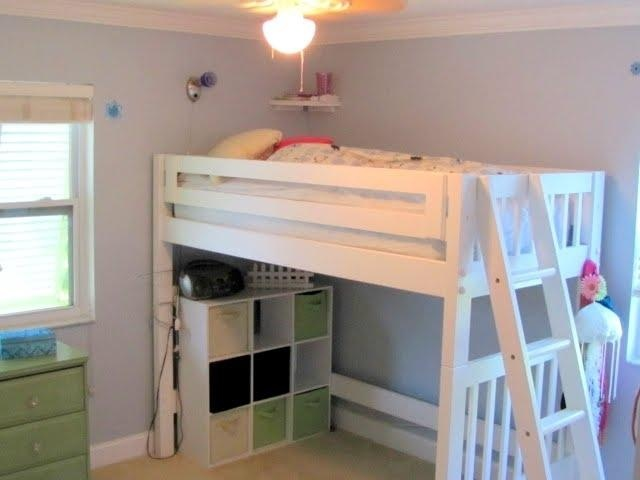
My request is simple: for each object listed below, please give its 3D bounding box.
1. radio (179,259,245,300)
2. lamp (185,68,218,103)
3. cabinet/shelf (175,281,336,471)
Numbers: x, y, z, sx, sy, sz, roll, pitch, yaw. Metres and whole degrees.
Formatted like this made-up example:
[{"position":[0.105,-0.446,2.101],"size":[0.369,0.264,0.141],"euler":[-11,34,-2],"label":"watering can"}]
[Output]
[{"position":[-0.774,0.247,3.869],"size":[0.369,0.286,0.317],"euler":[8,9,43],"label":"radio"},{"position":[-0.866,-1.101,3.904],"size":[0.207,0.208,0.086],"euler":[-1,11,-7],"label":"lamp"},{"position":[-0.460,0.976,3.893],"size":[1.104,1.244,0.428],"euler":[-3,5,-40],"label":"cabinet/shelf"}]
